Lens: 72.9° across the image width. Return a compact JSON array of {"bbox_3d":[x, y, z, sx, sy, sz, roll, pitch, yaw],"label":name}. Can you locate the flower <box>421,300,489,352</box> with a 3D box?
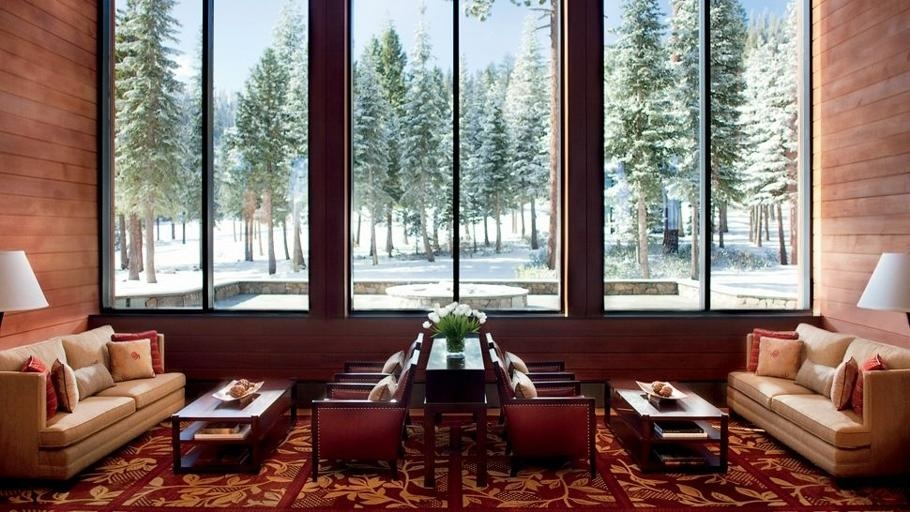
[{"bbox_3d":[-0.012,0.969,8.979,0.826,0.523,0.755,0,-2,-12],"label":"flower"}]

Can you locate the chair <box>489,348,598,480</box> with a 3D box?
[{"bbox_3d":[1.202,2.134,8.923,1.387,1.426,1.759,-2,-2,1],"label":"chair"}]

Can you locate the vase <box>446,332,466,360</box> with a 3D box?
[{"bbox_3d":[0.008,1.271,8.621,0.327,0.325,0.308,1,-7,-8],"label":"vase"}]

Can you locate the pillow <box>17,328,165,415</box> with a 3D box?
[{"bbox_3d":[-5.219,1.538,8.975,1.156,0.930,2.034,0,0,10],"label":"pillow"}]

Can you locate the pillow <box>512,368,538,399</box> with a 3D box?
[{"bbox_3d":[0.965,1.792,8.517,0.273,0.220,0.650,14,1,0],"label":"pillow"}]

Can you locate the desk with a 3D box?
[{"bbox_3d":[0.006,2.174,8.457,0.784,1.214,2.099,-1,1,1],"label":"desk"}]

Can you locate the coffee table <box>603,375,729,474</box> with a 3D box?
[{"bbox_3d":[3.062,2.059,8.686,1.114,0.679,1.850,-1,3,-5],"label":"coffee table"}]

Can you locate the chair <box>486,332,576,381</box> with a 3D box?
[{"bbox_3d":[1.153,1.625,9.379,0.986,1.082,0.833,-1,0,-3],"label":"chair"}]

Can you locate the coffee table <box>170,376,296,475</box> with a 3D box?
[{"bbox_3d":[-3.181,2.349,8.734,1.172,0.690,1.858,0,4,0],"label":"coffee table"}]
